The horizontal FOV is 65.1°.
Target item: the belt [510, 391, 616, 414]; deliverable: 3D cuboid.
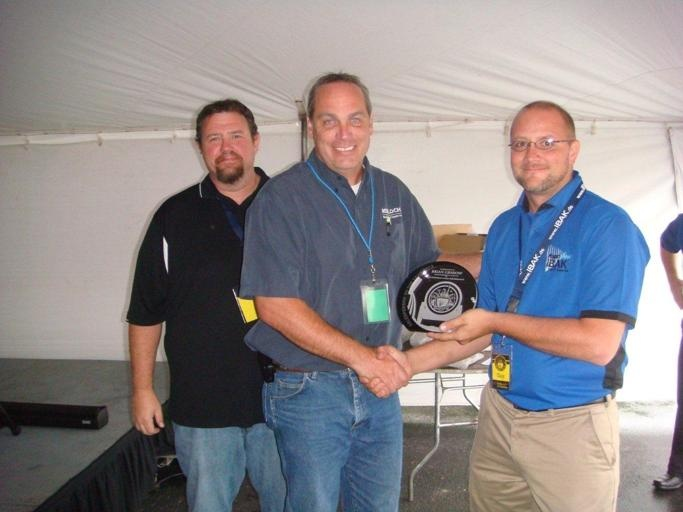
[{"bbox_3d":[1.066,0.708,2.579,0.467,0.111,0.083,1,4,15],"label":"belt"}]
